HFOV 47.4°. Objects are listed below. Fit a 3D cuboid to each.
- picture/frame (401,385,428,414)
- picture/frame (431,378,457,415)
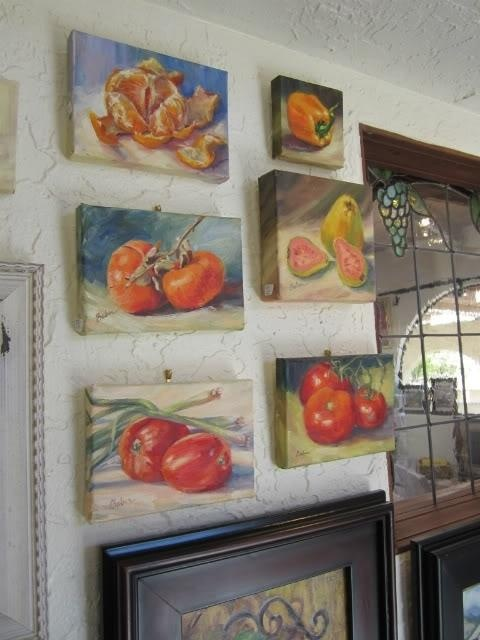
[{"bbox_3d":[0.452,0.205,1.421,0.074,0.061,0.011,9,-19,-29],"label":"picture/frame"},{"bbox_3d":[0.553,0.206,1.484,0.102,0.095,0.015,6,-10,-36],"label":"picture/frame"}]
